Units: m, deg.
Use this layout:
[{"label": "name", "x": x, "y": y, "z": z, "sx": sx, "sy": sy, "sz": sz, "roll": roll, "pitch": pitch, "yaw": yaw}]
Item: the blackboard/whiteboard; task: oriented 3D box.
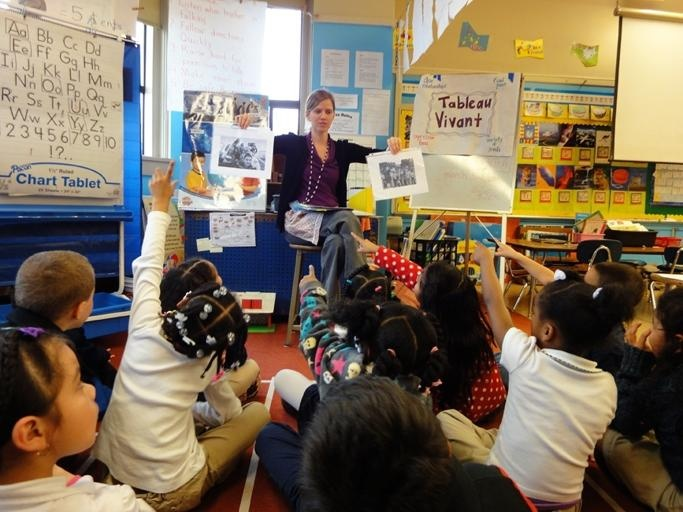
[{"label": "blackboard/whiteboard", "x": 0.901, "y": -0.826, "z": 3.643, "sx": 0.948, "sy": 1.245, "sz": 0.116, "roll": 3, "pitch": 9, "yaw": 14}]

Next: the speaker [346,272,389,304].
[{"label": "speaker", "x": 0.105, "y": 0.126, "z": 2.078, "sx": 0.146, "sy": 0.159, "sz": 0.114, "roll": -12, "pitch": 2, "yaw": -2}]

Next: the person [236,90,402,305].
[{"label": "person", "x": -0.120, "y": -0.333, "z": 3.335, "sx": 0.803, "sy": 1.366, "sz": 0.874, "roll": 13, "pitch": 18, "yaw": 39}]
